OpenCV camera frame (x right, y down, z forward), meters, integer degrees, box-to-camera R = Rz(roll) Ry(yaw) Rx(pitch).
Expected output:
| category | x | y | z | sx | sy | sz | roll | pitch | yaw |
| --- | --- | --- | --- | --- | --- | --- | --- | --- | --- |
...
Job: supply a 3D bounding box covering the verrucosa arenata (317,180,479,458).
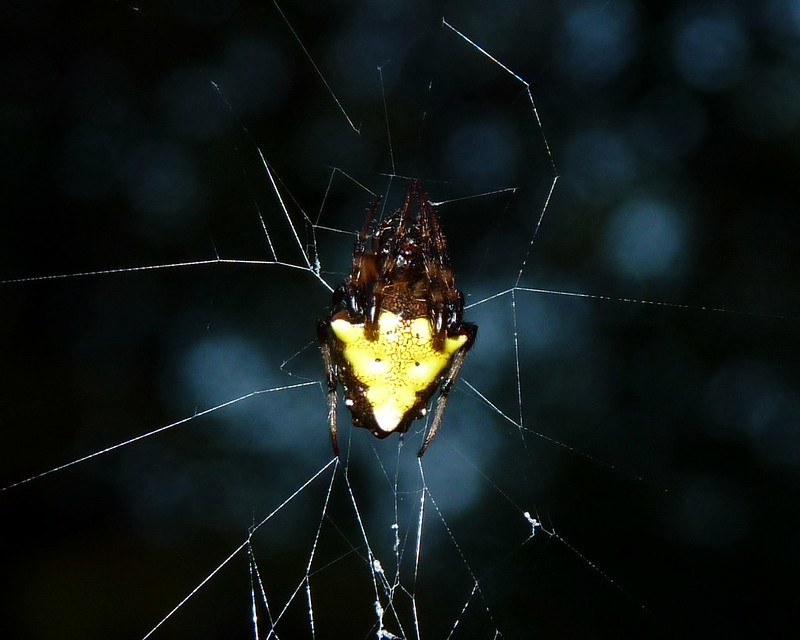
| category | x | y | z | sx | sy | sz | roll | pitch | yaw |
| --- | --- | --- | --- | --- | --- | --- | --- | --- | --- |
| verrucosa arenata | -0.004 | -0.002 | 1.885 | 0.325 | 0.164 | 0.686 | 4 | -91 | -6 |
